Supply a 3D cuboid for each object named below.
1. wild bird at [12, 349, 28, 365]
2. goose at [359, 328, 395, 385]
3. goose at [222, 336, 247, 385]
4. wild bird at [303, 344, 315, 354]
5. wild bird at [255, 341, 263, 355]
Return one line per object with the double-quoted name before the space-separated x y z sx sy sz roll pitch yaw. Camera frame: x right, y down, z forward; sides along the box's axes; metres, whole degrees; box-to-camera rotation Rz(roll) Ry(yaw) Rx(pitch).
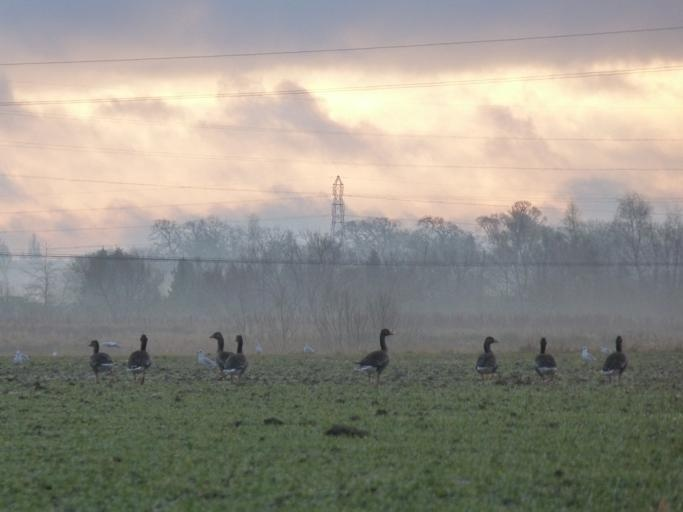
"wild bird" -15.392 4.958 68.703 0.580 0.909 0.873 5 -10 -36
"goose" 1.481 4.421 61.116 1.285 2.391 1.361 0 2 -44
"goose" -4.894 4.712 61.370 0.809 2.076 2.207 -2 4 -9
"wild bird" -1.745 4.912 74.535 0.331 0.435 0.563 -1 2 -34
"wild bird" -4.322 4.796 74.399 0.382 0.591 0.694 0 -3 -3
